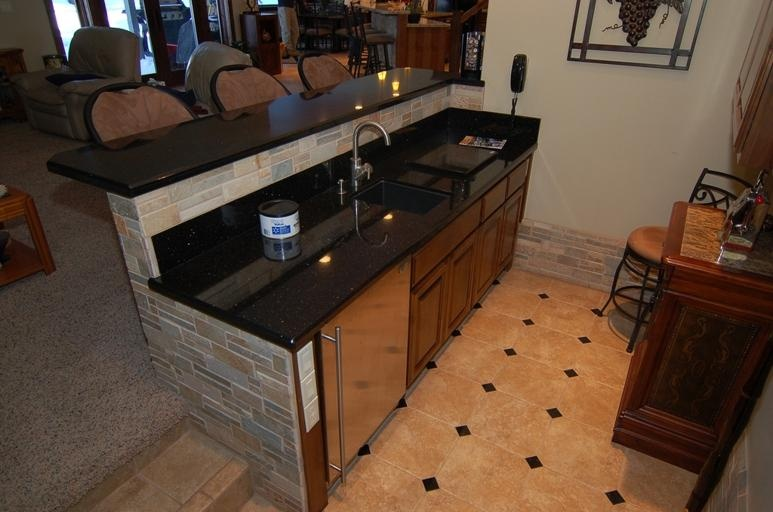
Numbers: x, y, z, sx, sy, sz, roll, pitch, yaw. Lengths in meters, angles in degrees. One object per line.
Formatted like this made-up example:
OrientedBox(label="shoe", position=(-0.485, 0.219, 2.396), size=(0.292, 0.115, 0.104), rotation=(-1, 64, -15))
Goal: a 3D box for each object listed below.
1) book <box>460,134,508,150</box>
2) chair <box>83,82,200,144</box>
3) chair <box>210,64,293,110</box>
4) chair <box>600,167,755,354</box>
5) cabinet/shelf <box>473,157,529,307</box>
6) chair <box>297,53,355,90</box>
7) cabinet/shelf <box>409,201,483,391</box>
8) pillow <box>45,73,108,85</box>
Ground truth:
OrientedBox(label="book", position=(0.766, -0.903, 4.159), size=(0.347, 0.023, 0.248), rotation=(12, 32, 17))
OrientedBox(label="chair", position=(-1.636, -0.991, 3.497), size=(0.682, 0.278, 0.399), rotation=(-22, 38, -34))
OrientedBox(label="chair", position=(-1.056, -1.307, 4.002), size=(0.270, 0.251, 0.640), rotation=(26, 38, 35))
OrientedBox(label="chair", position=(1.972, 0.001, 3.907), size=(0.466, 1.052, 0.395), rotation=(29, 41, 30))
OrientedBox(label="cabinet/shelf", position=(0.872, -0.201, 4.052), size=(0.415, 0.730, 0.856), rotation=(13, 41, 23))
OrientedBox(label="chair", position=(-0.540, -1.622, 4.553), size=(0.297, 0.229, 0.567), rotation=(18, 34, 26))
OrientedBox(label="cabinet/shelf", position=(0.384, 0.255, 3.485), size=(0.511, 0.707, 0.981), rotation=(13, 45, 25))
OrientedBox(label="pillow", position=(-3.869, -2.232, 6.634), size=(0.650, 0.132, 0.446), rotation=(-17, 36, -28))
